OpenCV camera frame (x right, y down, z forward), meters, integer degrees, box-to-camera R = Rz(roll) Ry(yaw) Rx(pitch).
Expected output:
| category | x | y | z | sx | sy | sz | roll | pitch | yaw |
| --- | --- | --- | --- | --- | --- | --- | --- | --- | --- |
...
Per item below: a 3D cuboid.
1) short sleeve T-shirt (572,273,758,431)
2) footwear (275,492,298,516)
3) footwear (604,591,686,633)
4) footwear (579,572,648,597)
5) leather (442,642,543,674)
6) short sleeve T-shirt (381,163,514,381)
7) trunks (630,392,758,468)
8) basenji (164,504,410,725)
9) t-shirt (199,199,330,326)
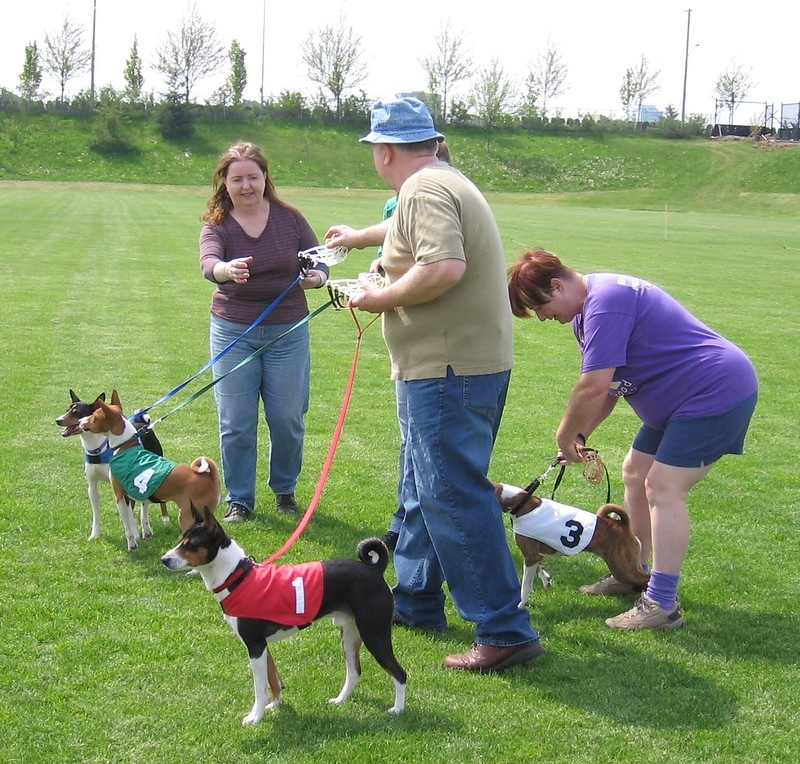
| category | x | y | z | sx | sy | sz | roll | pitch | yaw |
| --- | --- | --- | --- | --- | --- | --- | --- | --- | --- |
| short sleeve T-shirt | 1.511 | -0.151 | 5.738 | 0.997 | 0.861 | 0.408 | 3 | 10 | -3 |
| footwear | -0.850 | 0.903 | 7.593 | 0.142 | 0.152 | 0.405 | -1 | 2 | -7 |
| footwear | 1.407 | 1.345 | 6.022 | 0.541 | 0.255 | 0.178 | 0 | 0 | 5 |
| footwear | 1.354 | 1.279 | 6.502 | 0.446 | 0.184 | 0.153 | 3 | -1 | 8 |
| leather | 0.492 | 1.417 | 5.440 | 0.506 | 0.235 | 0.178 | 0 | -1 | -8 |
| short sleeve T-shirt | 0.265 | -0.539 | 5.204 | 0.713 | 1.148 | 0.484 | 3 | 10 | -3 |
| trunks | 1.691 | 0.161 | 5.798 | 0.731 | 0.501 | 0.408 | -8 | 14 | -37 |
| basenji | -0.541 | 1.109 | 4.970 | 1.196 | 1.006 | 0.386 | 3 | 10 | -1 |
| t-shirt | -1.008 | -0.843 | 7.270 | 0.830 | 0.882 | 0.564 | 2 | 10 | -11 |
